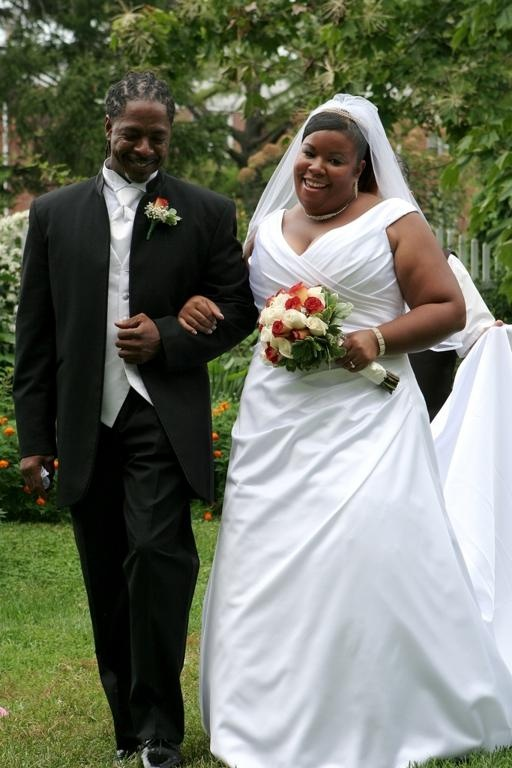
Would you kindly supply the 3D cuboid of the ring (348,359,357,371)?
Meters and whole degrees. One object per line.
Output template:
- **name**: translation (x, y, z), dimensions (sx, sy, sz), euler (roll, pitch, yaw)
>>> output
- **ring**: translation (0.301, -0.058, 2.499), dimensions (0.024, 0.028, 0.012), euler (1, 17, 29)

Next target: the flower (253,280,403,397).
- **flower**: translation (0.153, -0.179, 2.547), dimensions (0.251, 0.278, 0.251), euler (1, 13, -13)

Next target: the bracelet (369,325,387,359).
- **bracelet**: translation (0.389, -0.128, 2.547), dimensions (0.022, 0.080, 0.080), euler (-18, 53, -9)

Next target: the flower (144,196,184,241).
- **flower**: translation (-0.320, -0.564, 2.688), dimensions (0.147, 0.131, 0.110), euler (17, 3, -36)
